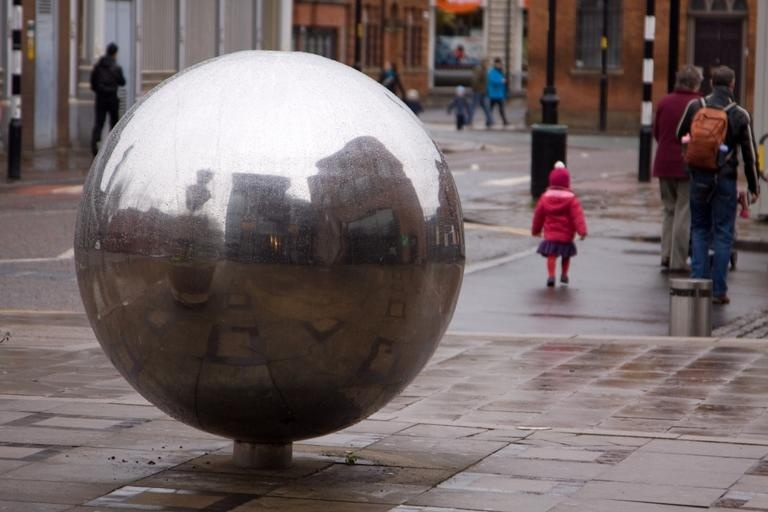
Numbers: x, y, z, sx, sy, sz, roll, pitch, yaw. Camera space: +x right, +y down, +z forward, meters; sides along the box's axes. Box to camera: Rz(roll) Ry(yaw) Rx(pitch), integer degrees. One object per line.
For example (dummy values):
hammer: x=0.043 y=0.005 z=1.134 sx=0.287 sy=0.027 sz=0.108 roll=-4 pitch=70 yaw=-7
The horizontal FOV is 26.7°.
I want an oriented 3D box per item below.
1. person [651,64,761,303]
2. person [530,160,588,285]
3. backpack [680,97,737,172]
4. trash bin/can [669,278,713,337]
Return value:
person: x=3.522 y=-0.847 z=17.189 sx=0.821 sy=2.207 sz=1.163 roll=1 pitch=2 yaw=27
person: x=1.916 y=-0.374 z=18.548 sx=0.545 sy=1.277 sz=0.800 roll=1 pitch=3 yaw=30
backpack: x=3.397 y=-1.256 z=16.971 sx=0.495 sy=0.658 sz=0.392 roll=3 pitch=13 yaw=11
trash bin/can: x=2.955 y=0.484 z=15.602 sx=0.403 sy=0.575 sz=0.237 roll=3 pitch=13 yaw=10
